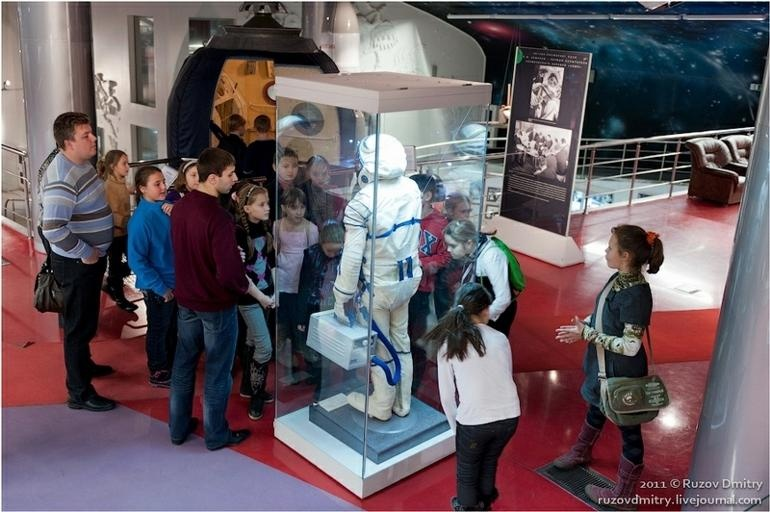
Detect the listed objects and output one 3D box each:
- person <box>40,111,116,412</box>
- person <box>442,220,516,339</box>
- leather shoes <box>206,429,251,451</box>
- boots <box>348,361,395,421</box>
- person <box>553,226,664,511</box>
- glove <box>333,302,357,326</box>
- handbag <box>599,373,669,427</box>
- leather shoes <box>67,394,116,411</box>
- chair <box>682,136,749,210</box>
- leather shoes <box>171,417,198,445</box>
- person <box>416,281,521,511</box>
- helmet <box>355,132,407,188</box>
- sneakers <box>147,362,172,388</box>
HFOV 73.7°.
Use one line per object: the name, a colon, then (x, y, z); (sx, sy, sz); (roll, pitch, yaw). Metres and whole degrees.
person: (-2.423, 0.071, 4.063); (0.500, 2.340, 0.477); (-3, 15, -8)
person: (0.647, 0.163, 3.611); (0.497, 0.999, 0.397); (-10, 40, 7)
leather shoes: (-1.184, 1.386, 3.932); (0.320, 0.117, 0.114); (-12, 23, -37)
boots: (-0.100, 0.916, 3.577); (0.377, 0.453, 0.165); (34, 45, 27)
person: (1.556, 0.753, 3.537); (0.620, 1.934, 0.586); (-9, 17, -31)
glove: (-0.263, 0.384, 3.494); (0.158, 0.160, 0.026); (5, 16, 22)
handbag: (1.641, 0.938, 3.390); (0.414, 0.312, 0.172); (-1, 14, -4)
leather shoes: (-2.380, 1.190, 4.174); (0.329, 0.132, 0.153); (1, 10, -10)
chair: (6.460, -1.643, 9.822); (1.035, 0.955, 0.988); (-16, 26, -32)
leather shoes: (-1.542, 1.332, 3.991); (0.085, 0.098, 0.239); (9, 25, 8)
person: (0.537, 0.889, 3.109); (0.421, 1.434, 0.346); (-6, 16, -22)
helmet: (-0.024, -0.620, 3.242); (0.278, 0.288, 0.305); (-20, 46, -32)
sneakers: (-1.960, 1.031, 4.535); (0.257, 0.223, 0.118); (-4, 15, -21)
